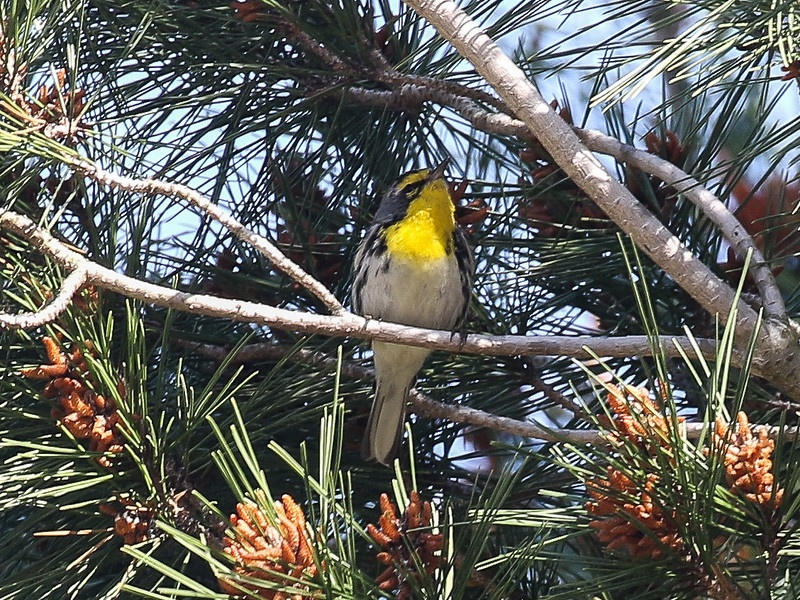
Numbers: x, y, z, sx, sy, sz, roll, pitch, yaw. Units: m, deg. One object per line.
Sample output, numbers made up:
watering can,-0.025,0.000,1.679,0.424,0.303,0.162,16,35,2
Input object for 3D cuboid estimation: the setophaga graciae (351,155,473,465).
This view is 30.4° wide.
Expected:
setophaga graciae,0.077,0.087,5.919,0.450,1.238,0.538,11,8,-6
